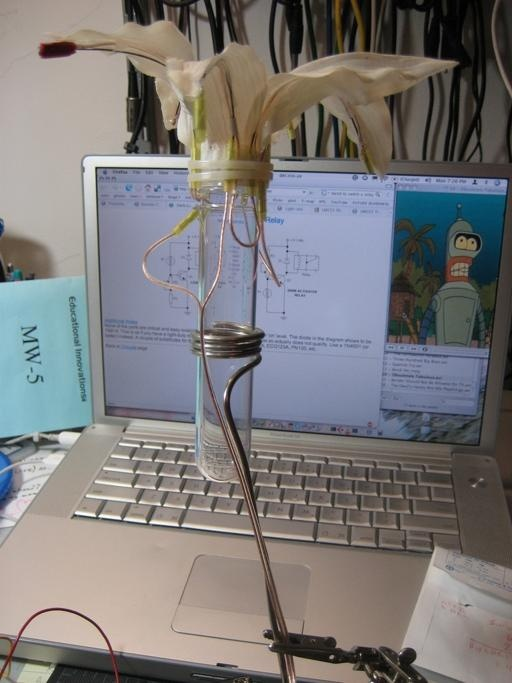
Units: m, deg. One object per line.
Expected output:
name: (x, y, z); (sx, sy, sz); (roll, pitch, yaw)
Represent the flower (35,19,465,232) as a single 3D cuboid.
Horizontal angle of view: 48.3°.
flower: (-0.015, -0.135, 0.346); (0.211, 0.112, 0.158); (-6, 19, -20)
